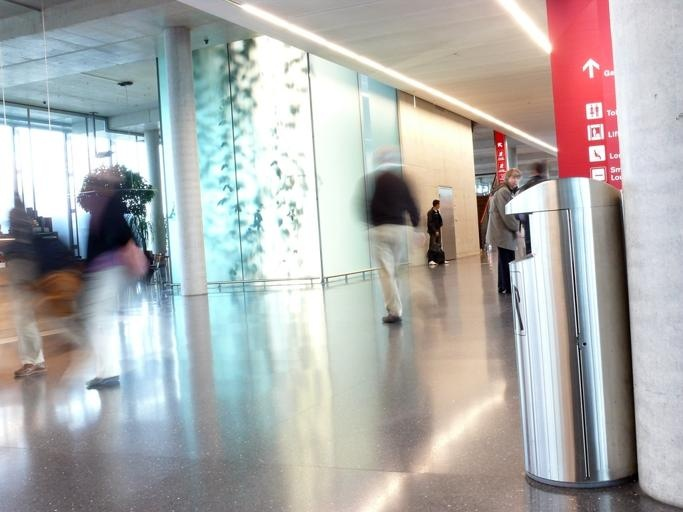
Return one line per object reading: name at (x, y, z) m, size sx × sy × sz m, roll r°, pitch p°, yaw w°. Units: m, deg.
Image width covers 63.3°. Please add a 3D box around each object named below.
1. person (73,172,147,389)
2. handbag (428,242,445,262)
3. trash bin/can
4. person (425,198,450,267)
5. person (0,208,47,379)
person at (-2.061, 0.201, 4.990) m, size 0.569 × 1.765 × 0.356 m, roll -4°, pitch 2°, yaw -9°
handbag at (2.755, -0.094, 16.502) m, size 0.492 × 0.600 × 0.301 m, roll 3°, pitch -17°, yaw -14°
trash bin/can at (1.118, 0.357, 2.704) m, size 0.539 × 1.465 × 0.291 m, roll -3°, pitch 3°, yaw 16°
person at (2.697, -0.690, 16.315) m, size 0.493 × 1.877 × 1.512 m, roll -4°, pitch 3°, yaw 9°
person at (-3.363, 0.325, 5.854) m, size 0.288 × 1.771 × 0.932 m, roll -5°, pitch 3°, yaw -29°
